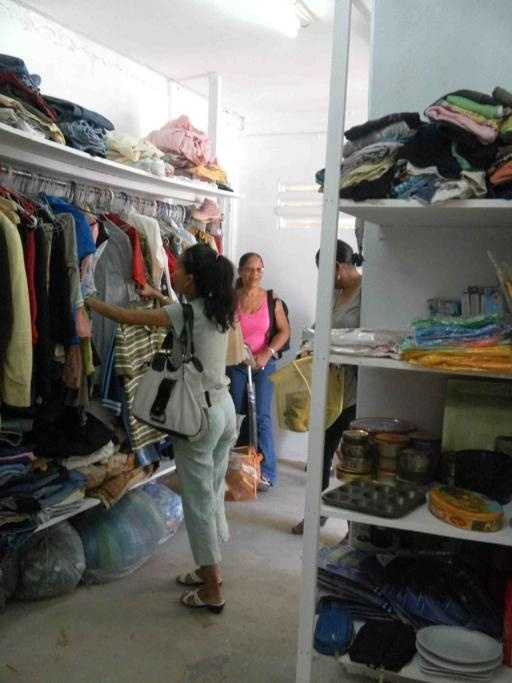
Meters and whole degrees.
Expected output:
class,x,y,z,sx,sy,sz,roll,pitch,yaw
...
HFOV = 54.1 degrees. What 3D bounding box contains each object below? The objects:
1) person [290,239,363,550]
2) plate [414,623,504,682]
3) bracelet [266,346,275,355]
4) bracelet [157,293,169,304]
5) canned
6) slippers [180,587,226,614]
class,x,y,z,sx,sy,sz,roll,pitch,yaw
person,0.338,0.026,2.151,0.261,0.878,0.254,5,31,17
plate,0.475,0.732,1.190,0.112,0.035,0.113,1,6,36
bracelet,0.110,0.068,3.904,0.052,0.065,0.027,1,2,8
bracelet,-0.479,-0.222,2.575,0.040,0.021,0.055,22,17,-49
canned,0.379,0.305,1.403,0.162,0.074,0.212,-1,3,-40
slippers,-0.235,1.095,2.171,0.172,0.059,0.080,11,22,25
